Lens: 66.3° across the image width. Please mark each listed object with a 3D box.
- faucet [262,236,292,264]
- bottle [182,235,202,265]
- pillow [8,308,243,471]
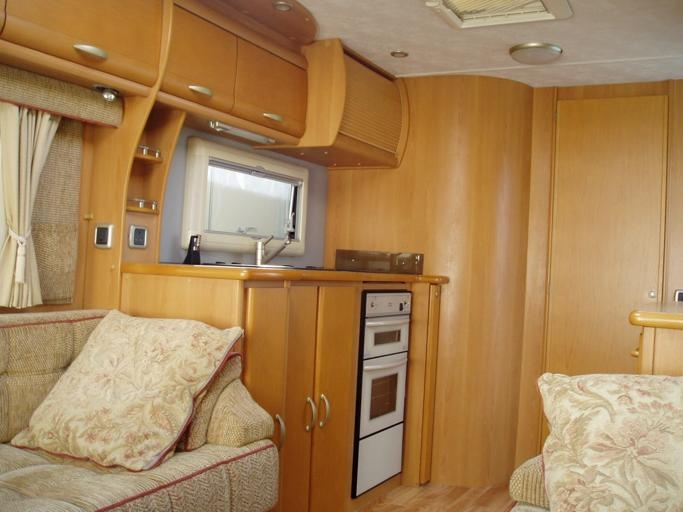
[{"bbox_3d":[-0.416,-0.024,3.413,0.071,0.196,0.347,10,-23,-33],"label":"faucet"},{"bbox_3d":[-0.837,-0.040,2.948,0.093,0.162,0.184,1,1,-16],"label":"bottle"},{"bbox_3d":[-0.815,0.503,2.043,0.716,0.474,0.413,2,1,18],"label":"pillow"}]
